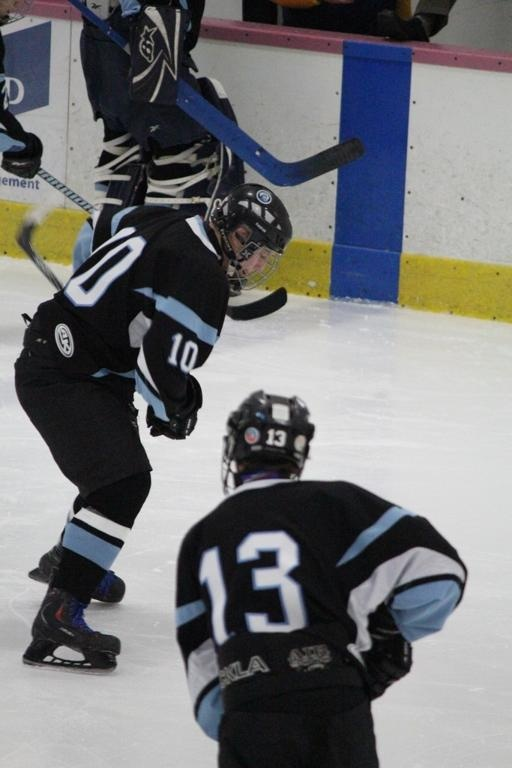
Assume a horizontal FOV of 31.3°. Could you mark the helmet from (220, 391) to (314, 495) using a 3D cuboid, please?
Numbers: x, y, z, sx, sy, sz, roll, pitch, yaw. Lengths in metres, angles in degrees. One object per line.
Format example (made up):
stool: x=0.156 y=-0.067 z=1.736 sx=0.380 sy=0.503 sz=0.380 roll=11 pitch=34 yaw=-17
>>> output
helmet: x=0.015 y=0.107 z=1.566 sx=0.148 sy=0.168 sz=0.182 roll=14 pitch=-12 yaw=0
